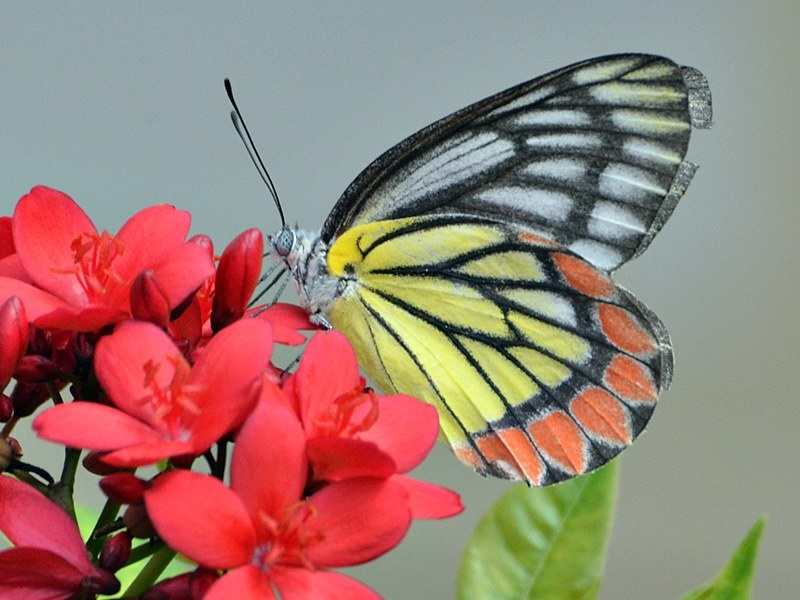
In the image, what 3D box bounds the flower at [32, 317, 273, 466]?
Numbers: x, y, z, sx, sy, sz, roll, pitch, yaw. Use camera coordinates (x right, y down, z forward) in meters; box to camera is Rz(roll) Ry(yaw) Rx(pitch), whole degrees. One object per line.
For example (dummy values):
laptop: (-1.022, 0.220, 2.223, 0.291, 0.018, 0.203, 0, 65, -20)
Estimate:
flower: (-0.254, 0.124, 1.103, 0.209, 0.116, 0.234, 1, 15, 14)
